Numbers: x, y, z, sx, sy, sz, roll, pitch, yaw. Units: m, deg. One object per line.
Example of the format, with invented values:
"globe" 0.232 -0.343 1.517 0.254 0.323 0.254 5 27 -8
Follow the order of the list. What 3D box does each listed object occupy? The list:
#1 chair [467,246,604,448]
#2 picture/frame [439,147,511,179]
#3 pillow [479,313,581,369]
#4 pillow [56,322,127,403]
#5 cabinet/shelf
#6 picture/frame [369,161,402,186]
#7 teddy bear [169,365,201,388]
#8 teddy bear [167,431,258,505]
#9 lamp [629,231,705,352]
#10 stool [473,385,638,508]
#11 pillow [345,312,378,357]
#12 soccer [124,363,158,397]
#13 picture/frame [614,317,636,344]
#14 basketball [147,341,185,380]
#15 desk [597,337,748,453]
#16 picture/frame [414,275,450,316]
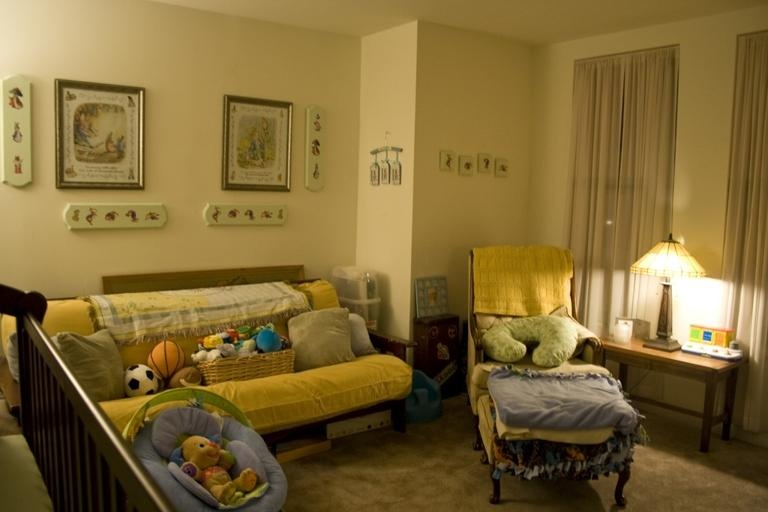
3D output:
"chair" 1.188 0.633 4.221 1.039 1.444 1.267 -1 -4 16
"picture/frame" 0.873 -0.880 5.069 0.850 0.249 0.090 -7 16 -33
"pillow" 1.168 0.671 4.246 0.762 0.312 0.443 4 13 11
"pillow" -1.958 0.731 3.538 0.244 0.472 0.536 -1 -11 7
"cabinet/shelf" 0.520 0.919 4.886 0.578 0.749 0.194 -6 15 -27
"picture/frame" 0.017 -0.767 4.916 0.079 0.241 0.361 -11 18 -42
"teddy bear" -1.402 0.864 3.763 0.200 0.123 0.195 13 18 42
"teddy bear" -0.903 1.107 2.790 0.420 0.256 0.287 9 15 31
"lamp" 2.419 0.298 4.829 0.805 1.239 0.827 2 4 30
"stool" 1.029 1.058 3.330 0.729 0.351 0.708 -5 -5 45
"pillow" -0.228 0.729 4.566 0.134 0.470 0.482 13 -17 -5
"soccer" -1.658 0.853 3.616 0.183 0.199 0.198 -2 -27 39
"picture/frame" 2.105 0.634 4.537 0.182 0.280 0.194 -2 -4 44
"basketball" -1.552 0.740 3.769 0.248 0.304 0.248 4 -11 -27
"desk" 2.372 1.127 4.468 0.493 0.669 1.002 -2 5 -34
"picture/frame" 0.416 0.364 4.849 0.349 0.341 0.037 5 -12 -41
